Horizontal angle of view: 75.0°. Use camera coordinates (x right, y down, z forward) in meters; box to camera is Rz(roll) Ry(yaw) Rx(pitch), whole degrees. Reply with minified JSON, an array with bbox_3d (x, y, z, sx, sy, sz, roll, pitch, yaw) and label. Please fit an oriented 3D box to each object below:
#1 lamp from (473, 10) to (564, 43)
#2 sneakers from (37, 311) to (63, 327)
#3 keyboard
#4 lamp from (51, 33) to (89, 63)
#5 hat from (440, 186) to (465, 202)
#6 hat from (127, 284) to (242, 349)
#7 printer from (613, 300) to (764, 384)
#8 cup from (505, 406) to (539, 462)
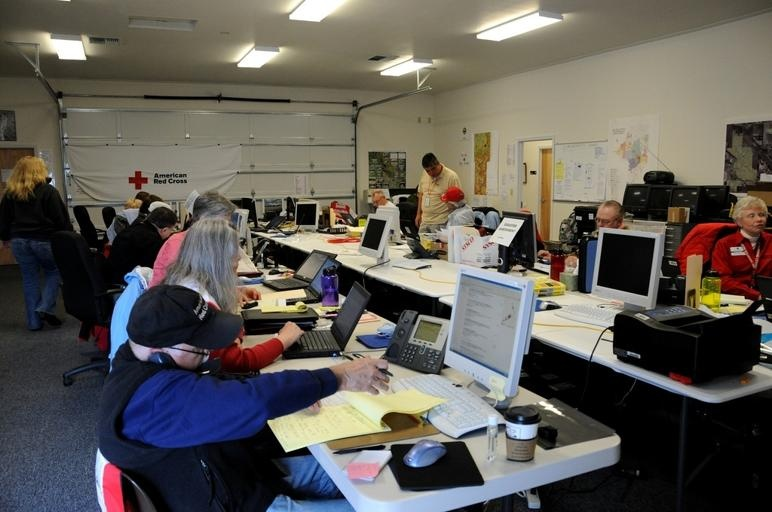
[{"bbox_3d":[1.704,-2.994,6.486,0.419,0.132,1.107,-6,11,-34],"label":"lamp"},{"bbox_3d":[-4.065,0.754,6.047,0.128,0.137,0.351,-7,9,-44],"label":"sneakers"},{"bbox_3d":[0.316,0.709,2.404,0.200,0.055,0.390,-12,17,-22],"label":"keyboard"},{"bbox_3d":[-4.343,-2.877,6.876,0.340,0.095,1.248,-4,10,-27],"label":"lamp"},{"bbox_3d":[0.765,-0.792,6.297,0.307,0.166,0.229,18,23,41],"label":"hat"},{"bbox_3d":[-0.862,0.272,2.183,0.419,0.153,0.269,3,29,-11],"label":"hat"},{"bbox_3d":[1.616,0.368,2.705,0.511,0.366,0.506,-4,9,-28],"label":"printer"},{"bbox_3d":[0.603,0.752,2.154,0.194,0.225,0.100,-7,12,-39],"label":"cup"}]
